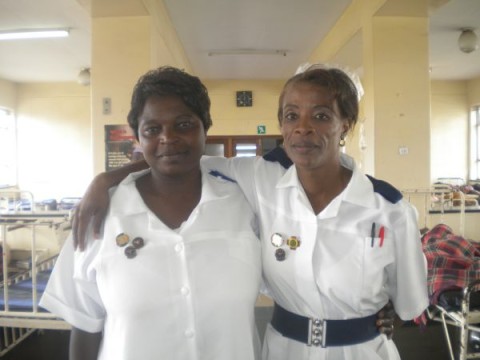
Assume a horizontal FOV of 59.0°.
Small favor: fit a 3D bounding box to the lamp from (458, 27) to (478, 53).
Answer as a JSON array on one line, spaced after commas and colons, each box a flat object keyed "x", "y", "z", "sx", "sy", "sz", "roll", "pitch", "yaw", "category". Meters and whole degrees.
[{"x": 3.695, "y": -2.260, "z": 6.888, "sx": 0.337, "sy": 0.385, "sz": 0.239, "roll": -1, "pitch": -2, "yaw": -36, "category": "lamp"}]
